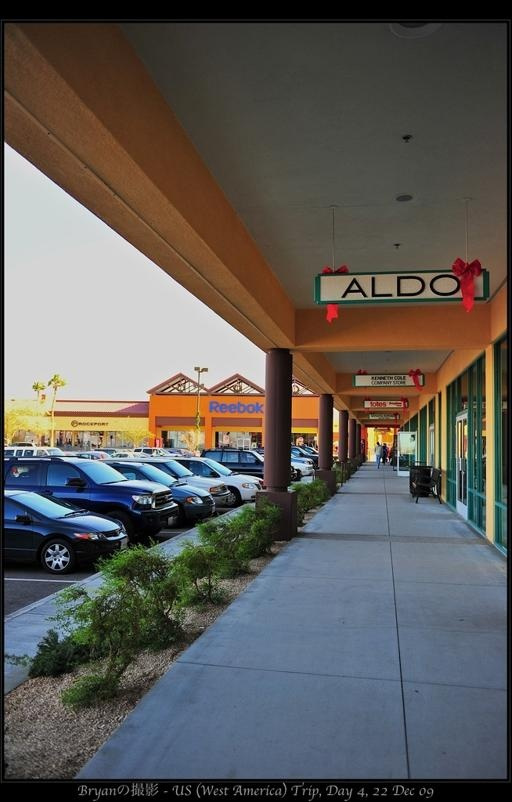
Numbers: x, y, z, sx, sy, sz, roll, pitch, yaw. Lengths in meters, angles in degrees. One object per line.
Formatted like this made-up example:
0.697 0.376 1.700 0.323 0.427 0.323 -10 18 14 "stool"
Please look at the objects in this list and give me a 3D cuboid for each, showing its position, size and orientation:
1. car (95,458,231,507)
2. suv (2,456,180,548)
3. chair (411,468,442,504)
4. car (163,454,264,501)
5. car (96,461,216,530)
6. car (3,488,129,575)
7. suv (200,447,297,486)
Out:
-2.300 2.186 12.227 2.879 1.094 1.424 -1 -3 12 "car"
-3.118 1.706 9.970 3.701 1.711 1.890 -1 -3 5 "suv"
5.488 2.682 16.385 0.963 1.093 2.079 -3 -8 17 "chair"
-1.245 2.406 15.728 2.764 1.138 1.350 -1 -1 6 "car"
-2.241 2.126 12.029 2.967 1.201 1.470 0 -2 15 "car"
-3.436 1.931 7.675 2.777 1.049 1.264 -1 -5 7 "car"
-0.346 2.708 19.789 3.386 1.598 1.657 -1 -2 10 "suv"
